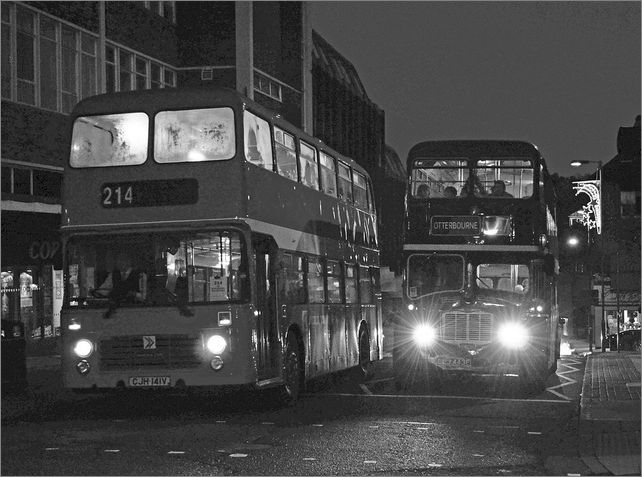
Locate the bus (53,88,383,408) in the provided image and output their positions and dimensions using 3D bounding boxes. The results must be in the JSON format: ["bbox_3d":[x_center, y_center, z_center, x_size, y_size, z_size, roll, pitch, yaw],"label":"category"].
[{"bbox_3d":[-0.384,0.371,15.920,3.018,5.998,10.979,-4,-11,32],"label":"bus"}]

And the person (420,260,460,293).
[{"bbox_3d":[2.832,0.843,16.852,0.700,0.763,0.180,3,-7,13],"label":"person"}]

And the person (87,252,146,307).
[{"bbox_3d":[-3.242,0.747,11.713,0.765,0.875,0.280,23,-2,14],"label":"person"}]
